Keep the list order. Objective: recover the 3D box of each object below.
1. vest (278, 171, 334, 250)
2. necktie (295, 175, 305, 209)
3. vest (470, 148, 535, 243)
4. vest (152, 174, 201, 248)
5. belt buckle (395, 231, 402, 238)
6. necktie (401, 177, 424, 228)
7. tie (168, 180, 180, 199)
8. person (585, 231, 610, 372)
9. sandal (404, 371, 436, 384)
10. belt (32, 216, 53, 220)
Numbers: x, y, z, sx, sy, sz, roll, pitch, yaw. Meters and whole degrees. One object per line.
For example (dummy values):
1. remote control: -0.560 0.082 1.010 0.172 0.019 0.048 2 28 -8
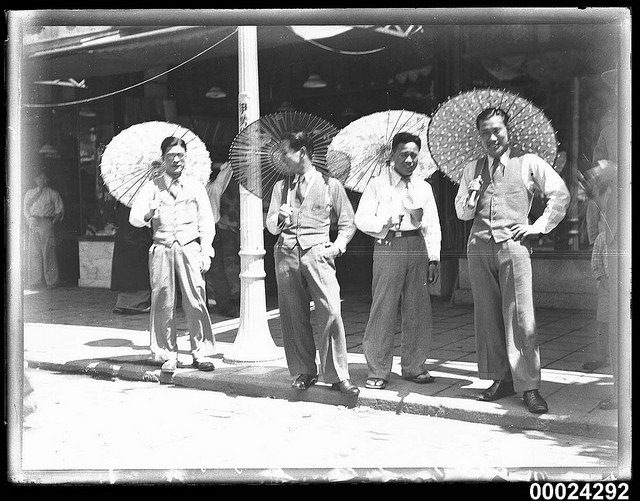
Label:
1. vest: -0.078 -0.255 4.216 0.366 0.525 0.262 3 11 10
2. necktie: -0.123 -0.356 4.205 0.057 0.191 0.014 3 3 23
3. vest: 1.058 -0.401 4.075 0.367 0.530 0.266 26 48 34
4. vest: -0.902 -0.263 4.323 0.347 0.513 0.272 -1 14 -7
5. belt buckle: 0.477 -0.100 4.274 0.037 0.039 0.027 3 12 8
6. necktie: 0.545 -0.287 4.269 0.059 0.259 0.159 -25 -14 11
7. tie: -0.895 -0.376 4.295 0.057 0.086 0.021 37 6 4
8. person: 1.553 0.289 3.873 0.127 0.793 0.154 3 3 23
9. sandal: 0.621 0.777 4.298 0.153 0.048 0.062 -3 12 18
10. belt: -1.538 -0.180 3.885 0.018 0.017 0.103 5 4 36
